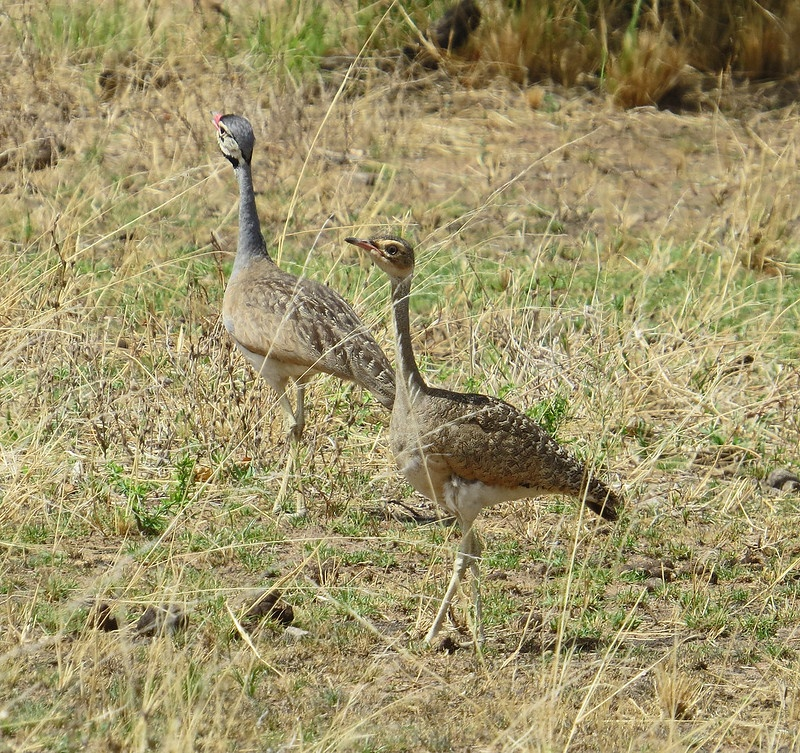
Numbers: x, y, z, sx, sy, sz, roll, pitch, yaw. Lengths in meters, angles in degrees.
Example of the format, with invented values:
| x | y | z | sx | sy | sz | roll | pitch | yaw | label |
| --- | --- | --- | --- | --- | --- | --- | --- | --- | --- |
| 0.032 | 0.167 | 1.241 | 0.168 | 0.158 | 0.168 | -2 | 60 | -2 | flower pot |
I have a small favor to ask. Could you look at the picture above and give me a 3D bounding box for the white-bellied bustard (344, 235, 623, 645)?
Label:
| x | y | z | sx | sy | sz | roll | pitch | yaw | label |
| --- | --- | --- | --- | --- | --- | --- | --- | --- | --- |
| 0.218 | 0.445 | 4.926 | 0.939 | 1.756 | 1.051 | -33 | 50 | -31 | white-bellied bustard |
